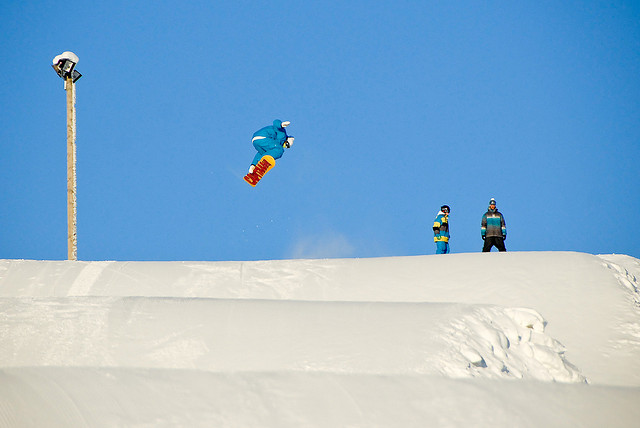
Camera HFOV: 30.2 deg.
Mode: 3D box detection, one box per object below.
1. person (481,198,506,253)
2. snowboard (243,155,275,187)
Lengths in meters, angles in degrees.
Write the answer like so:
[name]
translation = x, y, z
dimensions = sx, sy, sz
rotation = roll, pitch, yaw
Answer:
[person]
translation = 2.879, 0.181, 19.786
dimensions = 0.369, 0.863, 0.414
rotation = 2, -3, 7
[snowboard]
translation = -1.050, -0.765, 20.414
dimensions = 0.476, 0.564, 0.591
rotation = 2, -2, -4
